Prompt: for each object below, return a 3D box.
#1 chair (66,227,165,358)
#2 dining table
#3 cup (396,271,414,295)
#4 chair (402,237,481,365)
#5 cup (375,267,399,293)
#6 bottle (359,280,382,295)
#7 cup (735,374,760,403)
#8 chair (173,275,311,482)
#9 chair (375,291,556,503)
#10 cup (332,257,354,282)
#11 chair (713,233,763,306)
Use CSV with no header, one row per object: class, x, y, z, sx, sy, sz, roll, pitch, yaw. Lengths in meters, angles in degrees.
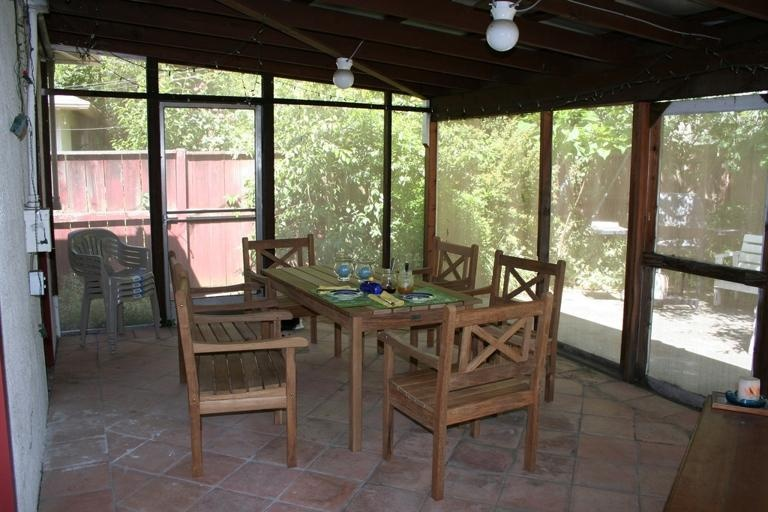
chair,-2.817,0.298,6.053,0.770,1.147,0.759,6,13,32
dining table,-0.077,0.262,4.723,1.213,1.141,2.336,-5,11,-31
cup,0.161,0.208,4.545,0.156,0.211,0.155,1,11,0
chair,0.545,0.403,5.686,0.654,0.907,0.591,15,29,40
cup,0.001,0.191,4.701,0.204,0.188,0.187,0,4,0
bottle,-0.105,0.244,4.552,0.087,0.073,0.160,-3,9,-39
cup,2.228,0.804,3.571,0.146,0.157,0.144,-1,9,0
chair,-1.247,0.762,4.825,0.930,1.229,2.202,0,6,-15
chair,0.547,0.878,4.049,1.086,1.210,0.996,-1,6,-13
cup,-0.333,0.108,5.111,0.201,0.223,0.197,-1,8,0
chair,2.806,0.062,4.496,0.395,0.507,0.375,-4,6,-34
